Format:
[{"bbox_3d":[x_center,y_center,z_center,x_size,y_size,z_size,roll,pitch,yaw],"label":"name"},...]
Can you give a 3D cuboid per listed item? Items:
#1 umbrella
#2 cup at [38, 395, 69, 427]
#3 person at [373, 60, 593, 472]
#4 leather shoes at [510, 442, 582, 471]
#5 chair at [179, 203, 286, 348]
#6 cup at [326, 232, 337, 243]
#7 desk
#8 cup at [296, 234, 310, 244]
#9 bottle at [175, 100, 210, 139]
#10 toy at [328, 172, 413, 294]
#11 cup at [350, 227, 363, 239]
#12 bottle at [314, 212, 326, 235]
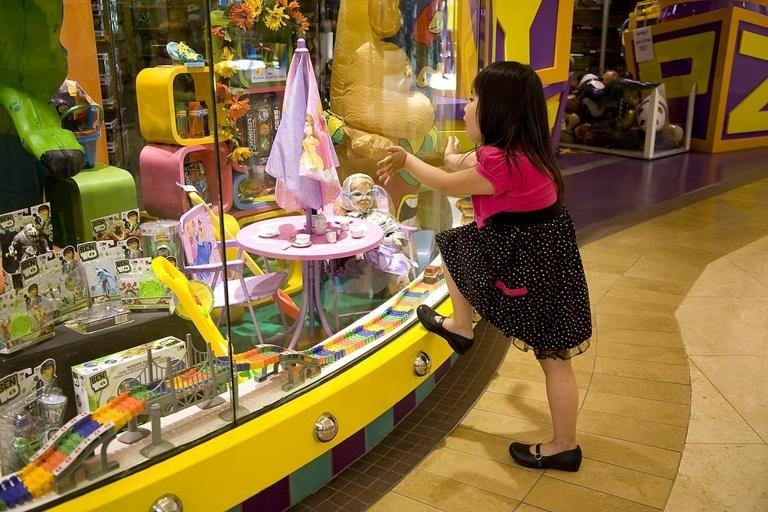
[{"bbox_3d":[-0.428,-0.635,2.739,0.352,0.825,0.164,-6,18,-4],"label":"umbrella"},{"bbox_3d":[-1.185,0.547,1.959,0.100,0.111,0.101,1,6,0],"label":"cup"},{"bbox_3d":[0.523,0.054,2.489,0.791,1.764,0.477,4,20,23],"label":"person"},{"bbox_3d":[0.728,0.920,2.484,0.293,0.109,0.127,4,8,12],"label":"leather shoes"},{"bbox_3d":[-0.715,0.114,2.653,0.460,0.638,0.480,4,16,5],"label":"chair"},{"bbox_3d":[-0.281,-0.098,2.924,0.050,0.049,0.054,0,-3,0],"label":"cup"},{"bbox_3d":[-0.375,0.104,2.966,0.737,0.542,0.747,14,9,9],"label":"desk"},{"bbox_3d":[-0.417,-0.086,2.874,0.059,0.033,0.058,-3,6,0],"label":"cup"},{"bbox_3d":[-1.146,-0.845,3.407,0.246,0.242,0.164,8,22,32],"label":"bottle"},{"bbox_3d":[-0.003,-0.185,3.149,0.557,0.631,0.575,-8,18,-27],"label":"toy"},{"bbox_3d":[-0.147,-0.124,3.009,0.051,0.041,0.060,-1,-4,-5],"label":"cup"},{"bbox_3d":[-0.347,-0.170,2.959,0.065,0.115,0.113,-1,5,-7],"label":"bottle"}]
